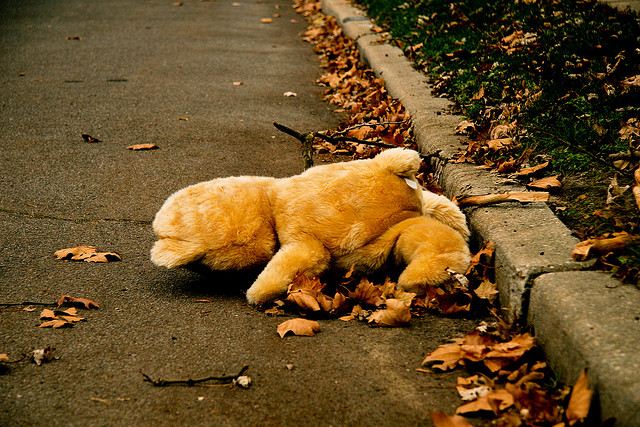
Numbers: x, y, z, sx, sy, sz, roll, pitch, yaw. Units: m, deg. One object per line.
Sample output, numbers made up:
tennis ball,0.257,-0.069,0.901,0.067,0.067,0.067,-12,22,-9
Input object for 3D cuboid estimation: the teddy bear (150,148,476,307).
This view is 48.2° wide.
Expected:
teddy bear,-0.105,0.022,4.785,1.765,0.603,1.143,-1,8,-7
